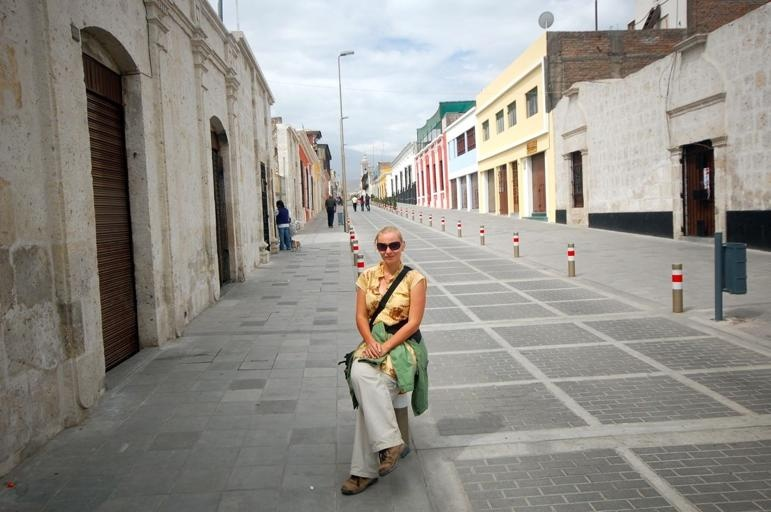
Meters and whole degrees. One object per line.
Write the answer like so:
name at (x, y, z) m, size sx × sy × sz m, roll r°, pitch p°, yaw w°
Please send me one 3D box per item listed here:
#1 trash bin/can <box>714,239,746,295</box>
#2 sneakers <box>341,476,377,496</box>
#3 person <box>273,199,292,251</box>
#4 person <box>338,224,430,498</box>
trash bin/can at (5.542, 0.225, 9.122) m, size 0.328 × 0.831 × 0.400 m, roll -8°, pitch 12°, yaw -31°
sneakers at (-0.256, 2.063, 5.209) m, size 0.363 × 0.162 × 0.121 m, roll 8°, pitch -9°, yaw -27°
person at (-4.120, -1.247, 23.507) m, size 0.613 × 1.981 × 0.793 m, roll -3°, pitch 11°, yaw -11°
person at (-0.005, 0.936, 5.308) m, size 0.708 × 2.304 × 0.887 m, roll 2°, pitch 11°, yaw 19°
